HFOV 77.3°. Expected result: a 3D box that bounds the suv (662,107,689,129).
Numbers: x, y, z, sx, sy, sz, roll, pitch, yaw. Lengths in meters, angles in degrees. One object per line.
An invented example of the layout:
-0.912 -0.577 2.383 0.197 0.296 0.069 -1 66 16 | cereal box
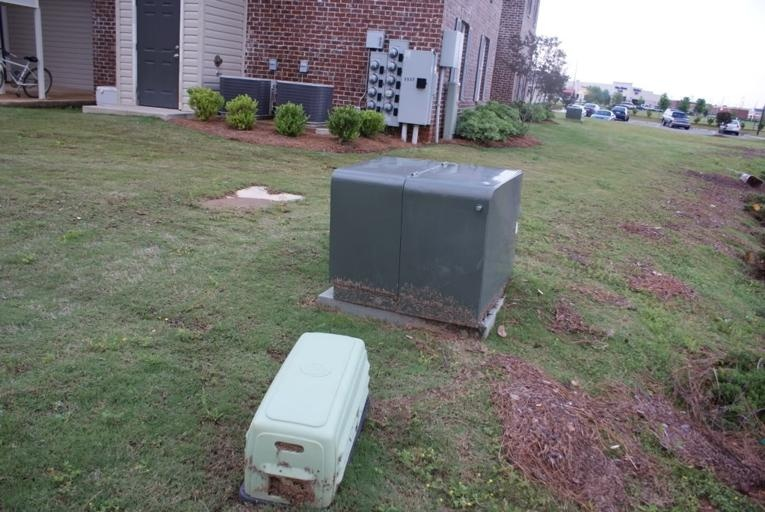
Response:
25.728 -12.112 41.985 1.672 1.656 3.555 2 16 10 | suv

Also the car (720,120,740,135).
27.467 -10.013 37.800 1.278 1.039 2.148 11 26 38 | car
